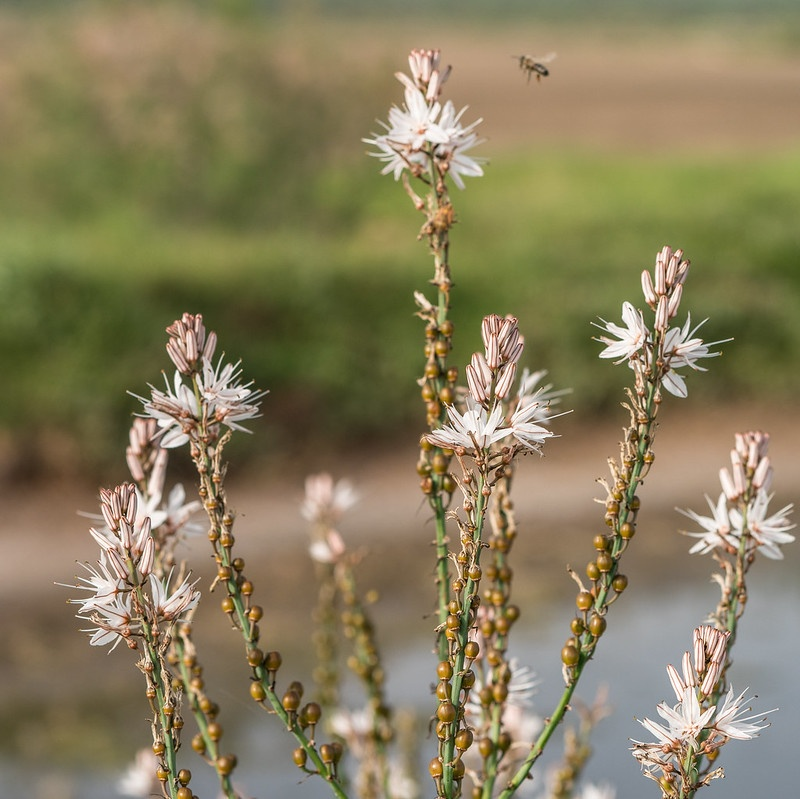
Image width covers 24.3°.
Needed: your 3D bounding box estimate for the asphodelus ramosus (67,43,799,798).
[{"bbox_3d":[0.015,-0.024,2.521,0.891,1.126,0.553,-5,-24,2],"label":"asphodelus ramosus"}]
